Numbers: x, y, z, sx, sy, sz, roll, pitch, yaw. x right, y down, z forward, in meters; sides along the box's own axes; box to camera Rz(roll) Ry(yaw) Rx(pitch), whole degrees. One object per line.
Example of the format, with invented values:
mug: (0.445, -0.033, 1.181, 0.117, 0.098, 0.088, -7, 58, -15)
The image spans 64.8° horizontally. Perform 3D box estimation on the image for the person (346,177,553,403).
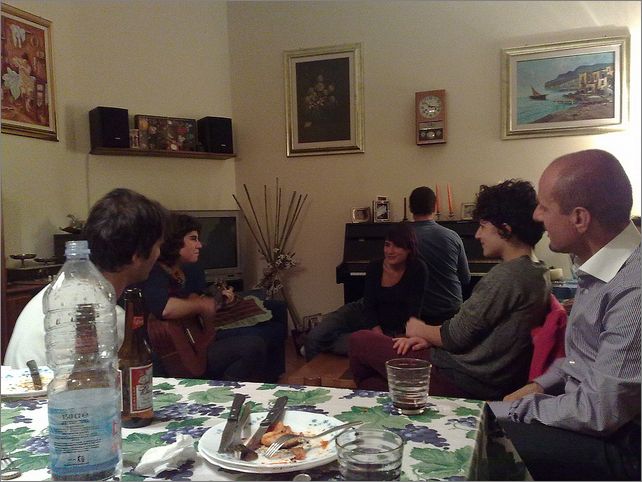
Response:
person: (0.650, 0.360, 2.461, 0.891, 1.237, 0.641, 6, 0, 41)

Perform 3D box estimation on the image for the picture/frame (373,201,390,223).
picture/frame: (0.556, -0.318, 5.118, 0.204, 0.246, 0.204, -1, 5, -8)

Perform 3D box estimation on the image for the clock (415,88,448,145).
clock: (1.098, -1.234, 5.038, 0.291, 0.524, 0.136, 2, 5, 19)

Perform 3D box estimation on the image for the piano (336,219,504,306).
piano: (0.897, 0.251, 4.755, 1.342, 0.843, 0.595, -1, 10, 8)

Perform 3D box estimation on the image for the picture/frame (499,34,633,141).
picture/frame: (2.338, -1.456, 4.725, 1.182, 0.783, 0.048, 0, 4, 17)

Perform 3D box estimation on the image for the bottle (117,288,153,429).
bottle: (-0.486, 0.302, 1.319, 0.081, 0.354, 0.122, -1, 5, -22)

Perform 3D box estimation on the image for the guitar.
guitar: (-0.766, 0.565, 2.711, 0.295, 0.485, 0.117, 14, 11, -38)

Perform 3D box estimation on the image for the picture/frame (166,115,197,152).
picture/frame: (-1.465, -1.053, 5.050, 0.148, 0.344, 0.407, -1, 5, 39)

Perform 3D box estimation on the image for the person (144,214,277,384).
person: (-0.898, 0.336, 2.978, 0.723, 0.673, 0.570, 13, 31, 42)

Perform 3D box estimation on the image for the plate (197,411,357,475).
plate: (-0.107, 0.491, 1.228, 0.327, 0.062, 0.268, 2, 4, 20)

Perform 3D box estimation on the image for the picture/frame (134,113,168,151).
picture/frame: (-1.564, -1.055, 4.915, 0.389, 0.343, 0.138, 6, 11, 13)

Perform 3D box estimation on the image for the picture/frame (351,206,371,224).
picture/frame: (0.390, -0.253, 5.270, 0.279, 0.220, 0.143, 1, 0, -1)

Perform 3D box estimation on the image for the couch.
couch: (-0.867, 0.828, 4.139, 1.150, 0.942, 0.628, -3, 7, 11)

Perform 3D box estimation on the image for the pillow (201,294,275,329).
pillow: (-0.671, 0.508, 4.150, 0.593, 0.118, 0.626, 16, 8, 11)

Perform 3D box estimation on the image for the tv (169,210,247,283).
tv: (-1.155, 0.097, 5.355, 0.546, 0.861, 0.666, -3, 2, -14)

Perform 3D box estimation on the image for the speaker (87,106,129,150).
speaker: (-1.900, -0.999, 4.499, 0.343, 0.363, 0.222, -1, 5, -15)
